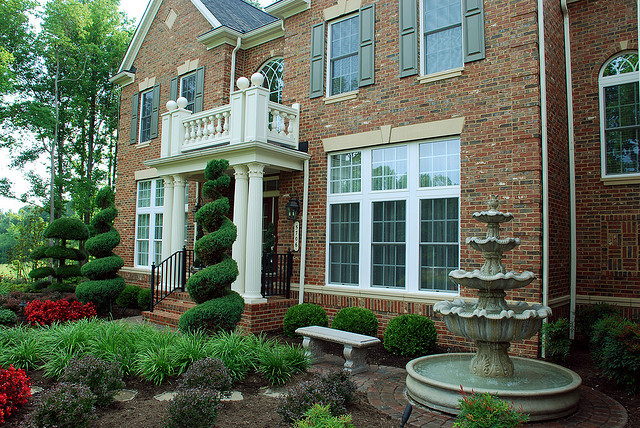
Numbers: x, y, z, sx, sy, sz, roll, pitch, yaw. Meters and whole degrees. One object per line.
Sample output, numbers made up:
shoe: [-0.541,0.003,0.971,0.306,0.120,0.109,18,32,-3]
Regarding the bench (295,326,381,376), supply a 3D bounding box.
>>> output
bench: [0.399,3.253,12.275,1.887,0.948,0.704,-2,-5,29]
